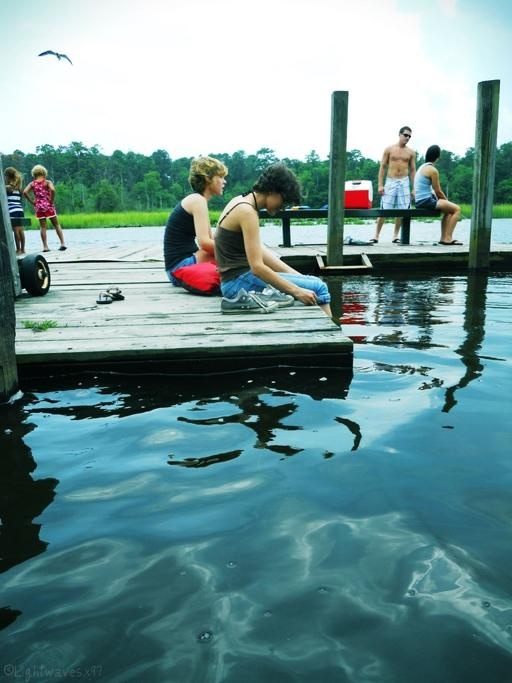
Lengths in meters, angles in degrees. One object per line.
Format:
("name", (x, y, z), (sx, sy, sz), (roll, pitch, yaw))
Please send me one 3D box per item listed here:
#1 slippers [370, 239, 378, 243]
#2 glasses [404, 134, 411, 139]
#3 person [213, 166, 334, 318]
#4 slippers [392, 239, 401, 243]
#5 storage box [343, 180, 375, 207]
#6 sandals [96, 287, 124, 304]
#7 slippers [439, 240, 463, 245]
("slippers", (1.784, -1.537, 10.246), (0.072, 0.062, 0.192), (-2, 9, 15))
("glasses", (2.224, -3.015, 9.881), (0.074, 0.050, 0.076), (-3, 5, -20))
("person", (0.079, -0.654, 4.365), (0.667, 0.931, 0.644), (-5, 14, -15))
("slippers", (2.249, -1.615, 10.813), (0.094, 0.090, 0.256), (-1, 2, 18))
("storage box", (1.495, -2.160, 9.854), (0.380, 0.412, 0.629), (0, 13, 6))
("sandals", (-1.072, -0.336, 4.922), (0.103, 0.072, 0.249), (5, 8, -4))
("slippers", (2.805, -1.410, 9.638), (0.364, 0.078, 0.128), (0, 8, 1))
